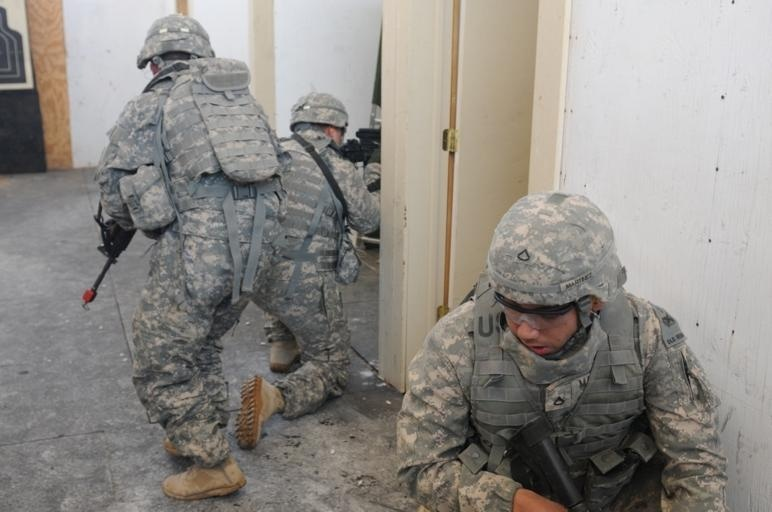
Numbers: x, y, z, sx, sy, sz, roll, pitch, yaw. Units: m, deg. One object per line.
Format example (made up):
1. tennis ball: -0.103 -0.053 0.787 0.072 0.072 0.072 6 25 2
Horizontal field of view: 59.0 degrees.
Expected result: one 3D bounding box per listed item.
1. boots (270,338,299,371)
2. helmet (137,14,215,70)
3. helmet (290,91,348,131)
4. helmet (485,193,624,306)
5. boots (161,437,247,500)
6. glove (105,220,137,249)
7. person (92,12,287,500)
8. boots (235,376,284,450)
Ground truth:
1. boots: -0.775 0.763 5.180 0.143 0.283 0.190 2 48 0
2. helmet: -1.319 -1.307 4.221 0.406 0.273 0.396 -8 5 -35
3. helmet: -0.450 -0.985 4.857 0.290 0.185 0.300 5 1 41
4. helmet: 0.698 -0.035 2.834 0.485 0.339 0.473 15 40 35
5. boots: -1.032 1.228 4.033 0.572 0.383 0.202 3 13 2
6. glove: -1.709 -0.128 4.412 0.145 0.205 0.074 39 0 -11
7. person: -1.141 0.099 3.997 0.879 2.382 1.012 4 18 19
8. boots: -0.758 0.919 4.262 0.203 0.259 0.534 2 60 3
